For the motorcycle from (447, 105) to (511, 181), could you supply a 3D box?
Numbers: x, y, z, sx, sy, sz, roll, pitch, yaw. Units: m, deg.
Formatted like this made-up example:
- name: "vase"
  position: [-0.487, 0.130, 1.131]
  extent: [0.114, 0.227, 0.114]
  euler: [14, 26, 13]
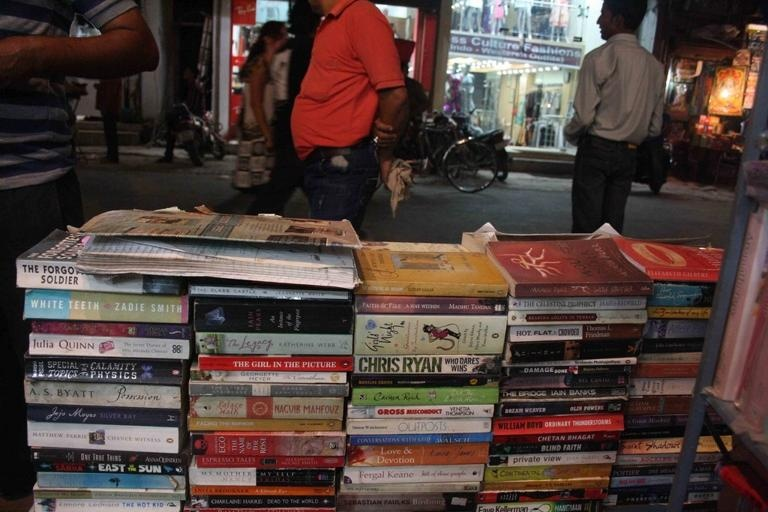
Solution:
- name: "motorcycle"
  position: [1.329, -1.743, 9.775]
  extent: [0.810, 0.777, 1.473]
  euler: [-16, -8, 40]

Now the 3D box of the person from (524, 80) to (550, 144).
- name: "person"
  position: [3.294, -3.137, 13.964]
  extent: [0.435, 1.302, 0.202]
  euler: [1, 18, -5]

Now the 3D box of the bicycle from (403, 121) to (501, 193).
- name: "bicycle"
  position: [1.117, -1.536, 9.732]
  extent: [2.054, 0.995, 1.053]
  euler: [6, 22, 19]
